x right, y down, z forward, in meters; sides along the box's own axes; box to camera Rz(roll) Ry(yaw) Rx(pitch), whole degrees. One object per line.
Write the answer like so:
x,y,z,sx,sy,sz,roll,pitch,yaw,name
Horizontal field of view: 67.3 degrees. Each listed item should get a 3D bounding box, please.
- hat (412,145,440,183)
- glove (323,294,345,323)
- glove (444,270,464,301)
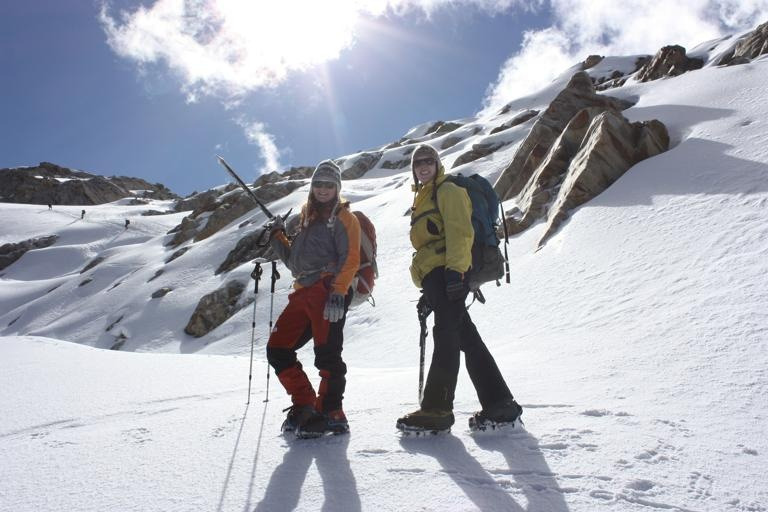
0.691,-1.521,9.815,0.515,0.604,0.673,-7,-18,9,hat
-0.786,0.819,9.208,0.365,0.426,0.154,6,-13,1,glove
1.131,0.421,9.126,0.312,0.471,0.229,-11,-20,3,glove
